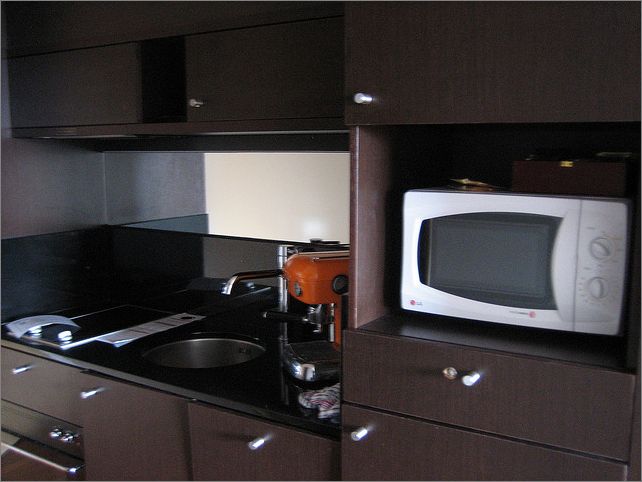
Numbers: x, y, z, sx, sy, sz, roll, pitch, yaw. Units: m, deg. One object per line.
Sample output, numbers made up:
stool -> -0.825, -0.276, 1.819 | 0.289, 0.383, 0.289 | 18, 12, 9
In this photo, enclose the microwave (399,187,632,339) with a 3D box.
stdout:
microwave -> 0.589, 0.050, 1.414 | 0.397, 0.288, 0.628 | 1, 1, -31
